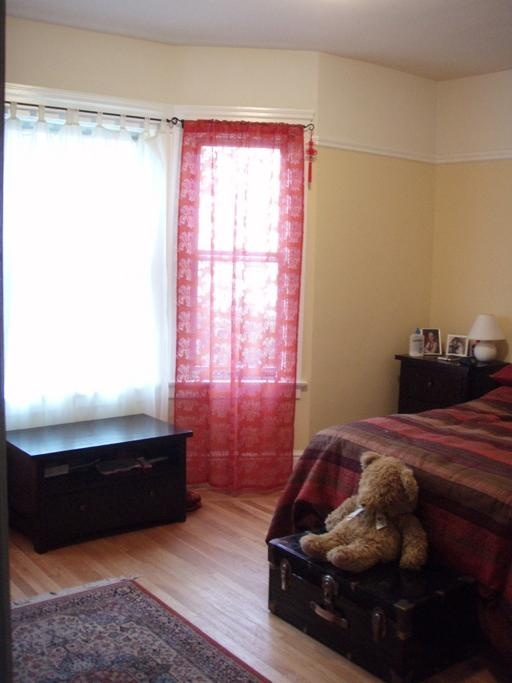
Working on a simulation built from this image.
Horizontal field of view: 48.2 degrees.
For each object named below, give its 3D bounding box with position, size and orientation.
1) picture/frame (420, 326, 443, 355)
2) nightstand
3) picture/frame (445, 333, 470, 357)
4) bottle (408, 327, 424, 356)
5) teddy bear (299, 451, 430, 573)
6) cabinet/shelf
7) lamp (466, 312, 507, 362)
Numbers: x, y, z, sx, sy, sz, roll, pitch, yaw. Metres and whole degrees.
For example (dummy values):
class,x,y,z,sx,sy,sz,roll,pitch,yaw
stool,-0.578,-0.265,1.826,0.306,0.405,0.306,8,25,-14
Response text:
class,x,y,z,sx,sy,sz,roll,pitch,yaw
picture/frame,1.210,-0.005,3.971,0.186,0.246,0.031,3,-16,-13
nightstand,1.257,0.236,3.707,0.380,0.546,0.548,0,5,-22
picture/frame,1.369,0.022,3.890,0.015,0.153,0.148,2,2,-35
bottle,1.102,0.005,3.944,0.096,0.182,0.302,2,2,15
teddy bear,0.374,0.556,1.885,0.382,0.388,0.336,9,-1,34
cabinet/shelf,-0.861,0.512,2.893,0.808,0.501,0.511,-5,7,-39
lamp,1.404,-0.027,3.689,0.279,0.394,0.284,-2,-1,12
